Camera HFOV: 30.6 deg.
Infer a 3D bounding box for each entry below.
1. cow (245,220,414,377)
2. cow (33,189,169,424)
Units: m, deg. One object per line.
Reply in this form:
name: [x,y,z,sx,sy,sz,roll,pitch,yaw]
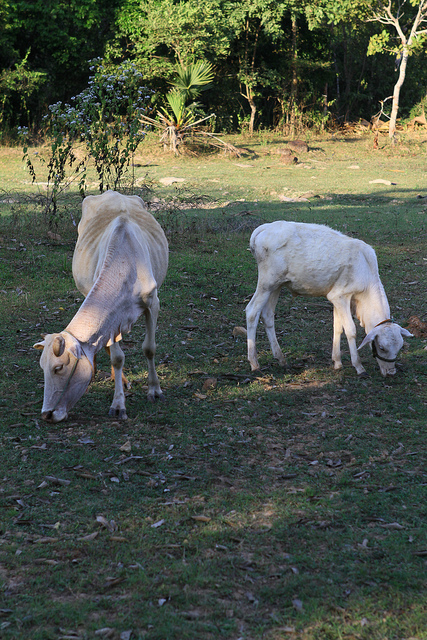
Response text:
cow: [1.043,-0.207,7.497,1.525,1.432,0.894,3,8,9]
cow: [-0.878,-0.136,6.450,0.997,1.831,2.030,1,8,-4]
